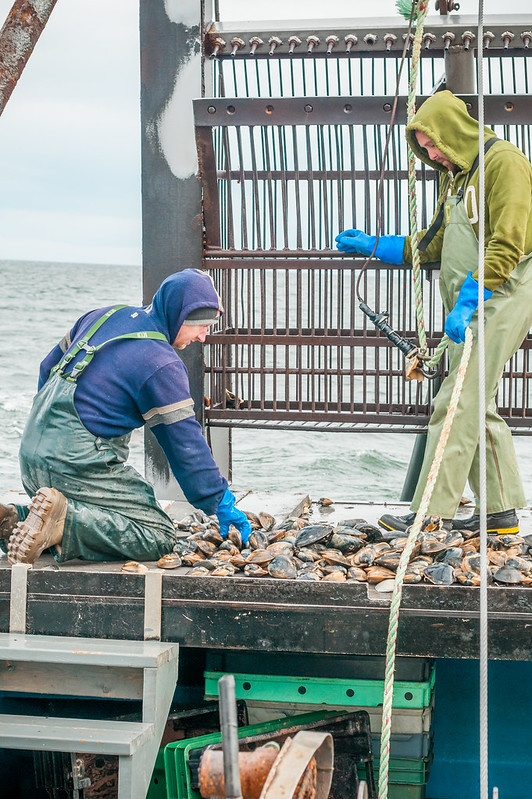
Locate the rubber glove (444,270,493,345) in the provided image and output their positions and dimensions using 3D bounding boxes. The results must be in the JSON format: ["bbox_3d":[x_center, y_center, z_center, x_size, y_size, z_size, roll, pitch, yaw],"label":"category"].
[{"bbox_3d":[0.784,-0.363,5.775,0.100,0.263,0.175,33,-11,-24],"label":"rubber glove"}]

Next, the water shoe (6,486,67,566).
[{"bbox_3d":[-0.824,0.474,5.460,0.173,0.361,0.140,3,29,-44],"label":"water shoe"}]

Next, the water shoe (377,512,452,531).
[{"bbox_3d":[0.628,0.519,6.089,0.313,0.116,0.098,-5,-3,11],"label":"water shoe"}]

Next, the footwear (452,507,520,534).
[{"bbox_3d":[0.886,0.502,6.028,0.328,0.130,0.107,2,-3,13],"label":"footwear"}]

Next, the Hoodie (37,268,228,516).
[{"bbox_3d":[-0.464,-0.030,5.653,0.667,0.943,0.335,1,-1,5],"label":"Hoodie"}]
